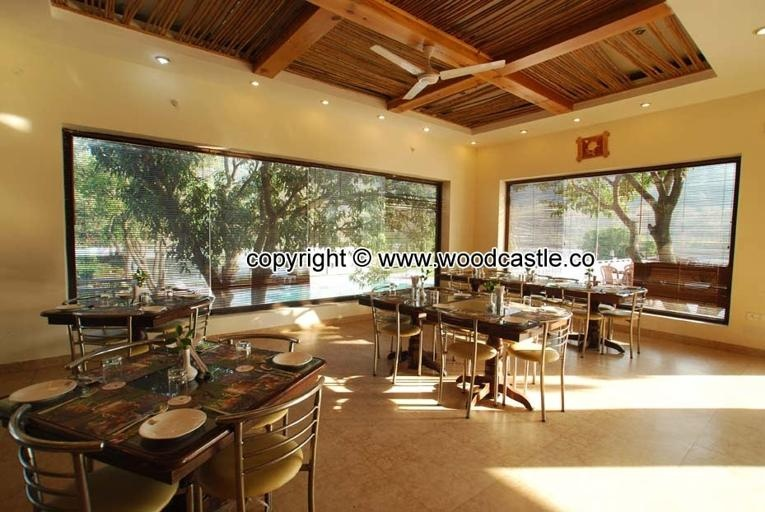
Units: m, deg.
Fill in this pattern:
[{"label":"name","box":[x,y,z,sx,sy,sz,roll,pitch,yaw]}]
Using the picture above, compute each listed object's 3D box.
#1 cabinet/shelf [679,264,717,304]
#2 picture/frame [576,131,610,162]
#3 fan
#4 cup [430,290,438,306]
[{"label":"cabinet/shelf","box":[4.962,0.442,7.642,0.667,0.496,0.633,8,3,-37]},{"label":"picture/frame","box":[3.705,-1.927,8.435,0.082,0.496,0.719,-2,5,-37]},{"label":"fan","box":[0.707,-2.191,5.671,1.058,0.284,1.020,-1,-1,2]},{"label":"cup","box":[0.691,0.551,6.392,0.166,0.210,0.143,-2,-18,8]}]
